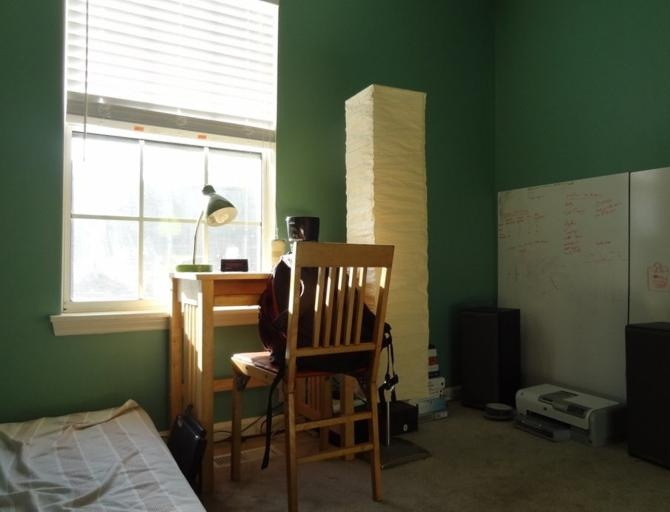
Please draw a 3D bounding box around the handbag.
[{"bbox_3d":[-0.801,1.028,3.028,0.124,0.410,0.281,1,9,-28],"label":"handbag"}]

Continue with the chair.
[{"bbox_3d":[-0.115,0.584,2.970,0.867,1.390,0.641,-3,11,-13],"label":"chair"}]

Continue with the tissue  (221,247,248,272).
[{"bbox_3d":[-0.634,0.025,3.494,0.134,0.050,0.201,2,15,-8],"label":"tissue "}]

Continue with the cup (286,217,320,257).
[{"bbox_3d":[-0.176,-0.130,3.244,0.202,0.164,0.189,0,-1,0],"label":"cup"}]

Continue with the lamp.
[{"bbox_3d":[-0.842,-0.187,3.441,0.375,0.515,0.402,-10,15,-42],"label":"lamp"}]

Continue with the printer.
[{"bbox_3d":[1.553,1.037,3.715,0.419,0.219,0.636,-8,14,-37],"label":"printer"}]
